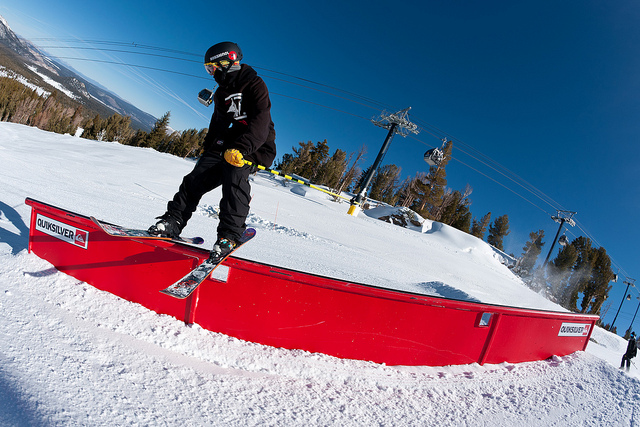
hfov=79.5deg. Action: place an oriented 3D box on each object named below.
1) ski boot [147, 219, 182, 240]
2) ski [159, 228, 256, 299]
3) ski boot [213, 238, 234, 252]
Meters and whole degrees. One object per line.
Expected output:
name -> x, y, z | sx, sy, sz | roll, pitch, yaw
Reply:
ski boot -> -2.101, 0.200, 5.166 | 0.145, 0.188, 0.438 | 21, -7, 12
ski -> -1.504, 0.652, 5.071 | 0.236, 0.165, 1.435 | 36, 37, 1
ski boot -> -1.251, 0.401, 4.984 | 0.148, 0.173, 0.193 | 29, 6, -34
